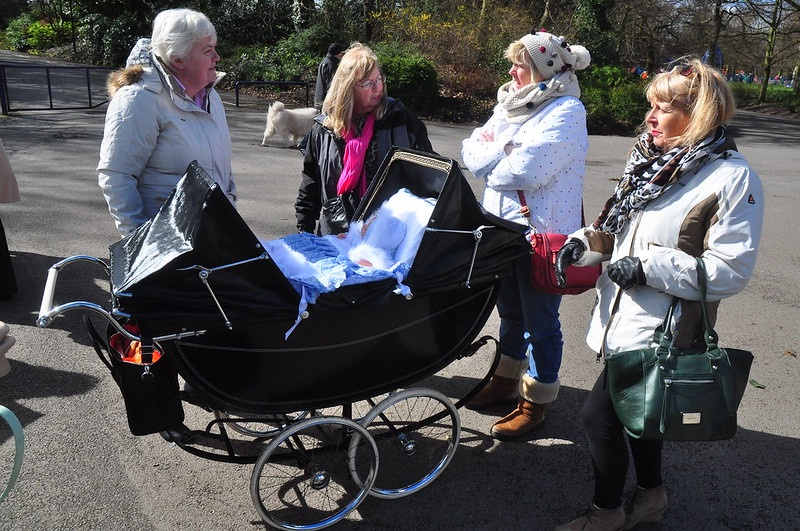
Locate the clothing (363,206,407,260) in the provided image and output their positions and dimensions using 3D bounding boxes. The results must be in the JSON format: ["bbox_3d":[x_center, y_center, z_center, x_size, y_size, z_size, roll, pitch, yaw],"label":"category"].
[{"bbox_3d":[-0.086,-0.208,4.180,0.318,0.319,0.097,42,6,31],"label":"clothing"}]

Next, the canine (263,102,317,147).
[{"bbox_3d":[-2.199,-3.041,12.720,0.477,1.057,1.558,22,27,34],"label":"canine"}]

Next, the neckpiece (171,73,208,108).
[{"bbox_3d":[-1.584,-1.302,4.534,0.199,0.178,0.153,-19,54,-27],"label":"neckpiece"}]

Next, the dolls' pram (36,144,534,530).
[{"bbox_3d":[-0.702,0.501,4.055,2.505,2.449,1.039,-5,17,-25],"label":"dolls' pram"}]

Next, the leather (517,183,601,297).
[{"bbox_3d":[1.048,-0.162,4.231,0.728,0.976,0.415,-7,8,-31],"label":"leather"}]

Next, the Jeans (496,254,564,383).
[{"bbox_3d":[1.156,0.435,4.728,0.318,0.997,0.464,2,8,-1],"label":"Jeans"}]

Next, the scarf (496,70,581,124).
[{"bbox_3d":[1.029,-1.272,4.513,0.500,0.261,0.428,-18,13,8],"label":"scarf"}]

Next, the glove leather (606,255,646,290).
[{"bbox_3d":[1.360,0.046,3.599,0.217,0.164,0.100,-13,-10,16],"label":"glove leather"}]

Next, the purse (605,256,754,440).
[{"bbox_3d":[1.679,0.509,3.536,0.799,1.061,0.327,2,15,-3],"label":"purse"}]

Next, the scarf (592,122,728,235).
[{"bbox_3d":[1.653,-0.513,3.861,0.486,0.743,0.253,22,-2,29],"label":"scarf"}]

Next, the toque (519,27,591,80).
[{"bbox_3d":[1.164,-1.591,4.498,0.558,0.336,0.396,9,33,0],"label":"toque"}]

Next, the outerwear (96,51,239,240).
[{"bbox_3d":[-1.776,-0.998,4.793,0.817,1.310,1.399,16,23,17],"label":"outerwear"}]

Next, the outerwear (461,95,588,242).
[{"bbox_3d":[0.928,-0.819,4.962,0.956,1.317,1.115,-5,16,-19],"label":"outerwear"}]
